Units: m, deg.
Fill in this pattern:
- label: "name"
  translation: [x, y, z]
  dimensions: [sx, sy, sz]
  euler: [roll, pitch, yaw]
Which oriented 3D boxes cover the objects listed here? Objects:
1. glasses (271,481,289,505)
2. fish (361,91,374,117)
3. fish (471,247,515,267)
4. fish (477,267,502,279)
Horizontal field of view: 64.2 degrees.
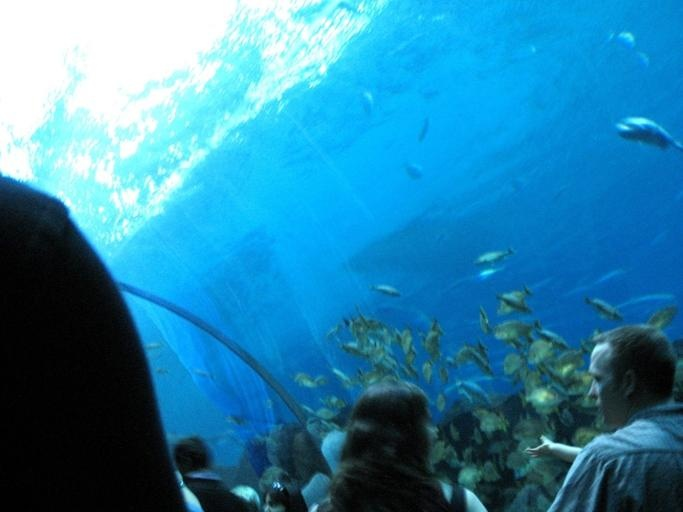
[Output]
- label: "glasses"
  translation: [-0.500, 1.911, 4.356]
  dimensions: [0.117, 0.184, 0.049]
  euler: [-17, -22, -18]
- label: "fish"
  translation: [0.552, -3.396, 12.293]
  dimensions: [0.169, 0.456, 0.591]
  euler: [5, -53, 15]
- label: "fish"
  translation: [3.660, 0.058, 13.266]
  dimensions: [0.364, 0.248, 0.988]
  euler: [-10, -1, 43]
- label: "fish"
  translation: [3.929, 0.471, 14.672]
  dimensions: [0.668, 0.242, 0.236]
  euler: [-14, -5, 21]
